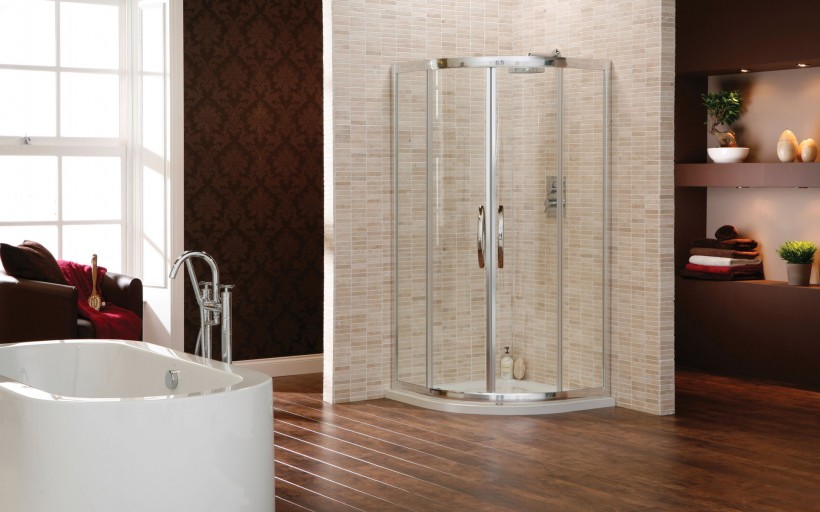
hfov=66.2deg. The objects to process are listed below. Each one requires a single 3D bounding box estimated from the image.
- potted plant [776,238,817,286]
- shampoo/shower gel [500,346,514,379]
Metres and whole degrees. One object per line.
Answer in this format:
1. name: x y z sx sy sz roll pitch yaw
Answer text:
1. potted plant: 3.420 0.061 5.548 0.253 0.368 0.212 -3 7 -23
2. shampoo/shower gel: 0.748 0.825 4.854 0.094 0.265 0.052 0 6 2
